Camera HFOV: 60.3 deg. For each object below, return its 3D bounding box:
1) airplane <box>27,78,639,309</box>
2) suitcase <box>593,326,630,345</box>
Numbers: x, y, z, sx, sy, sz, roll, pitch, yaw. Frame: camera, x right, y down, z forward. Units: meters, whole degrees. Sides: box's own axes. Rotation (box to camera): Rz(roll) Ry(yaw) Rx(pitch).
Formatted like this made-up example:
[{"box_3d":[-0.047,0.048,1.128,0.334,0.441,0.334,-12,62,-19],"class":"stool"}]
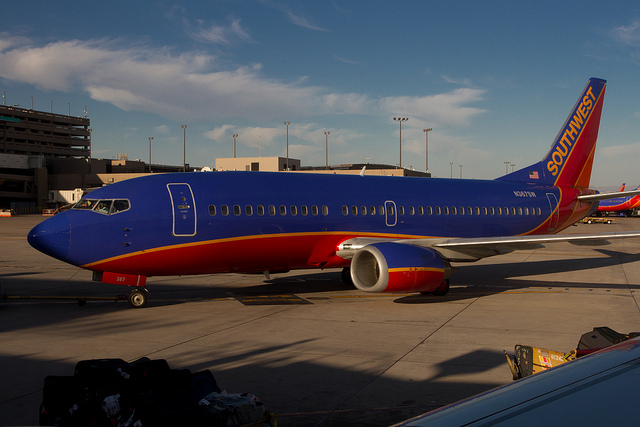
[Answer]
[{"box_3d":[2.638,-1.726,22.154,24.795,9.609,3.054,0,5,-28],"class":"airplane"},{"box_3d":[5.329,2.285,10.085,0.417,0.084,0.445,2,7,-20],"class":"suitcase"}]
